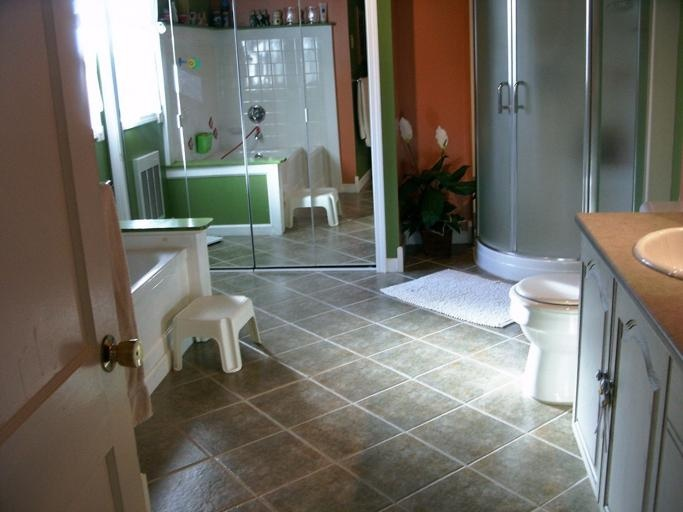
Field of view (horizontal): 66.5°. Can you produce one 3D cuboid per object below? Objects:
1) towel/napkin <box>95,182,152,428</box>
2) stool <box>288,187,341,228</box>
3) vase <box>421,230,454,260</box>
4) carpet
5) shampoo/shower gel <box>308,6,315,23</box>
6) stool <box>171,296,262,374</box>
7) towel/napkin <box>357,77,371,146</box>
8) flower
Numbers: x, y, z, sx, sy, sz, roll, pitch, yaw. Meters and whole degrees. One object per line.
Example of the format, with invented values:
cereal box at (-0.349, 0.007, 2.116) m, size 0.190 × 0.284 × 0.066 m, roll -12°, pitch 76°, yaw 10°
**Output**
towel/napkin at (-0.935, 0.282, 2.252) m, size 0.104 × 1.184 × 0.450 m, roll -12°, pitch 17°, yaw -22°
stool at (-0.217, -0.443, 4.541) m, size 0.333 × 0.235 × 0.349 m, roll 1°, pitch 20°, yaw 8°
vase at (0.858, -0.105, 4.688) m, size 0.262 × 0.280 × 0.241 m, roll -1°, pitch 14°, yaw 3°
carpet at (0.894, 0.280, 3.884) m, size 0.806 × 0.067 × 1.057 m, roll -20°, pitch 22°, yaw -40°
shampoo/shower gel at (-0.236, -1.891, 4.053) m, size 0.064 × 0.113 × 0.093 m, roll -1°, pitch 17°, yaw 4°
stool at (-0.761, 0.525, 3.168) m, size 0.421 × 0.323 × 0.437 m, roll 3°, pitch 25°, yaw 10°
towel/napkin at (0.177, -1.157, 4.181) m, size 0.091 × 0.529 × 0.086 m, roll -2°, pitch 16°, yaw 9°
flower at (0.844, -0.678, 4.635) m, size 0.672 × 1.113 × 0.541 m, roll -2°, pitch 16°, yaw 10°
